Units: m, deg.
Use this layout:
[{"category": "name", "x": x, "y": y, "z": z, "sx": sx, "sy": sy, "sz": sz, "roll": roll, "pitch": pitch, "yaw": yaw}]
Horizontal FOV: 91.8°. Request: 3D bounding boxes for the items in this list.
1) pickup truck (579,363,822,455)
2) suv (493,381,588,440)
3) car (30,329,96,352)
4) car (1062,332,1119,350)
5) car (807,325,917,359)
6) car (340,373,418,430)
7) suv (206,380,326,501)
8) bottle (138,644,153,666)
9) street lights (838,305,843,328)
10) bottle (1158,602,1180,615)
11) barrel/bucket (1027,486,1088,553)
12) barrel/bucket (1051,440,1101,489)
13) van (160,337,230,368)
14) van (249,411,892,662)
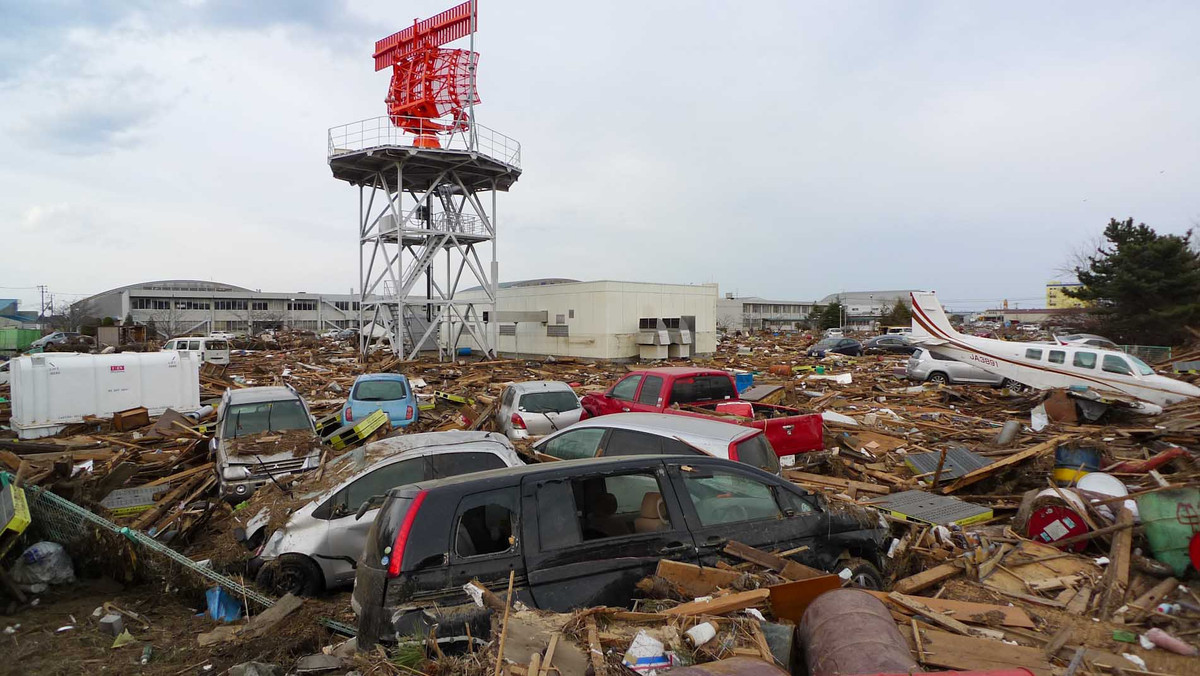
[{"category": "pickup truck", "x": 2.682, "y": 1.522, "z": 14.645, "sx": 5.013, "sy": 1.400, "sz": 2.703, "roll": 6, "pitch": 5, "yaw": 40}, {"category": "suv", "x": -1.907, "y": 1.955, "z": 17.638, "sx": 2.454, "sy": 1.540, "sz": 4.125, "roll": -4, "pitch": 11, "yaw": -18}, {"category": "car", "x": -40.599, "y": 0.132, "z": 44.243, "sx": 2.440, "sy": 0.757, "sz": 3.000, "roll": 2, "pitch": 2, "yaw": 9}, {"category": "car", "x": 27.045, "y": 0.093, "z": 32.056, "sx": 2.497, "sy": 0.518, "sz": 1.270, "roll": 0, "pitch": 13, "yaw": -5}, {"category": "car", "x": 19.773, "y": 0.392, "z": 43.817, "sx": 7.956, "sy": 1.498, "sz": 3.660, "roll": 0, "pitch": 1, "yaw": -29}, {"category": "car", "x": -6.712, "y": 1.840, "z": 18.129, "sx": 1.591, "sy": 0.898, "sz": 2.264, "roll": -1, "pitch": 9, "yaw": -8}, {"category": "suv", "x": -8.673, "y": 1.834, "z": 14.851, "sx": 2.441, "sy": 1.963, "sz": 4.198, "roll": -4, "pitch": 35, "yaw": -42}, {"category": "bottle", "x": -6.869, "y": 4.654, "z": 8.860, "sx": 0.178, "sy": 0.054, "sz": 0.184, "roll": -8, "pitch": 37, "yaw": 6}, {"category": "street lights", "x": 30.554, "y": -2.586, "z": 73.868, "sx": 0.354, "sy": 2.024, "sz": 1.050, "roll": 1, "pitch": 1, "yaw": 30}, {"category": "bottle", "x": 8.494, "y": 3.904, "z": 8.696, "sx": 0.177, "sy": 0.071, "sz": 0.223, "roll": -6, "pitch": 1, "yaw": -38}, {"category": "barrel/bucket", "x": 8.188, "y": 3.076, "z": 10.389, "sx": 0.937, "sy": 0.829, "sz": 0.865, "roll": 0, "pitch": 1, "yaw": 0}, {"category": "barrel/bucket", "x": 10.222, "y": 2.632, "z": 12.704, "sx": 1.133, "sy": 0.852, "sz": 1.021, "roll": 15, "pitch": -11, "yaw": -26}, {"category": "van", "x": -20.816, "y": 0.680, "z": 30.351, "sx": 3.342, "sy": 1.249, "sz": 1.975, "roll": 5, "pitch": 5, "yaw": 31}, {"category": "van", "x": -0.522, "y": 2.857, "z": 9.822, "sx": 9.841, "sy": 2.748, "sz": 4.592, "roll": 0, "pitch": 1, "yaw": -12}]
